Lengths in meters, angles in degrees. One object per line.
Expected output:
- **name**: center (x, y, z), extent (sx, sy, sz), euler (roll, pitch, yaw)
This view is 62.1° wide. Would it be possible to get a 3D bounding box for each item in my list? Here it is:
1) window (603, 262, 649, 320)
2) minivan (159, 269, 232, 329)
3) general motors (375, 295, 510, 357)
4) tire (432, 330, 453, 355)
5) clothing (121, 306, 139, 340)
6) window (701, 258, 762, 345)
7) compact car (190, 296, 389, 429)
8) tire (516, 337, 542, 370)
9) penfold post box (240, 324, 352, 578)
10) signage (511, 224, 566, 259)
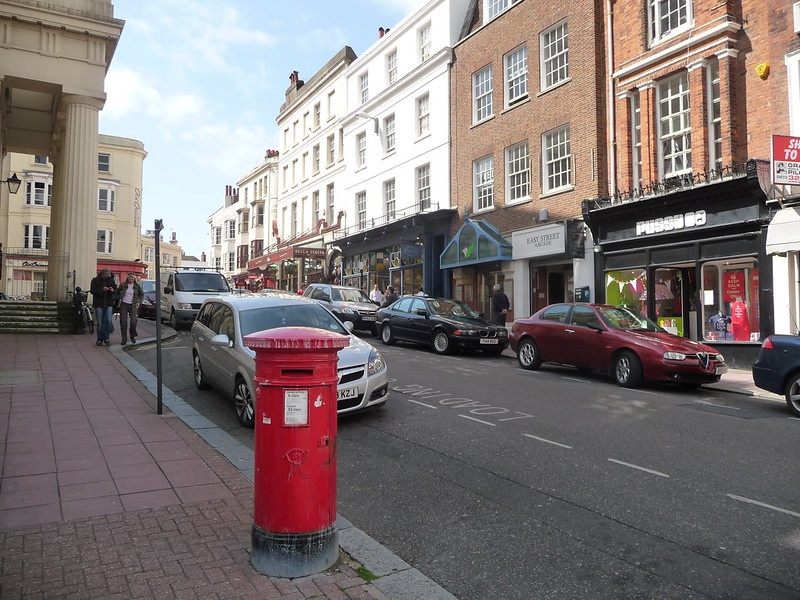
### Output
- **window**: center (6.180, -0.267, 18.106), extent (0.090, 1.569, 1.327), euler (0, -2, -27)
- **minivan**: center (-7.202, -0.300, 23.687), extent (2.338, 2.467, 4.103), euler (1, -6, -27)
- **general motors**: center (1.079, 0.726, 18.518), extent (1.480, 1.300, 3.318), euler (4, -4, -32)
- **tire**: center (1.133, 1.113, 17.571), extent (0.191, 0.645, 0.542), euler (8, -7, -35)
- **clothing**: center (-7.137, 0.616, 17.607), extent (0.540, 0.575, 1.742), euler (-5, -20, -26)
- **window**: center (8.256, 0.014, 16.512), extent (0.092, 2.993, 1.862), euler (0, 1, -28)
- **compact car**: center (-2.029, 0.837, 10.519), extent (1.692, 1.344, 2.965), euler (2, -5, -38)
- **tire**: center (2.973, 1.222, 15.279), extent (0.189, 0.655, 0.573), euler (2, -11, -19)
- **penfold post box**: center (-0.955, 1.418, 6.198), extent (0.886, 2.171, 0.621), euler (0, 9, -7)
- **signage**: center (4.514, -1.897, 21.793), extent (0.197, 1.409, 2.954), euler (-3, 11, -22)
